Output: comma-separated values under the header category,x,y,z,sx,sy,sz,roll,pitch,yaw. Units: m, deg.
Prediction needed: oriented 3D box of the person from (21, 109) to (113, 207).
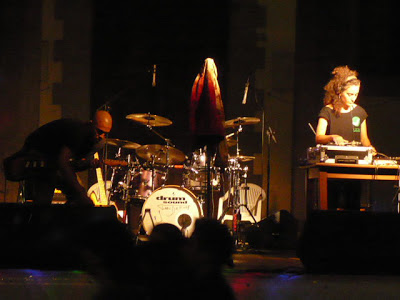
category,x,y,z,sx,sy,sz,roll,pitch,yaw
person,-1.387,0.119,5.700,0.872,1.128,0.610,11,8,1

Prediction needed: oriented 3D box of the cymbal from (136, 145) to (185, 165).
category,x,y,z,sx,sy,sz,roll,pitch,yaw
cymbal,-0.509,0.077,7.415,0.665,0.332,0.534,1,9,2

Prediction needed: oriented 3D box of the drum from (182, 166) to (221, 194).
category,x,y,z,sx,sy,sz,roll,pitch,yaw
drum,0.012,0.348,7.178,0.443,0.291,0.245,0,0,14

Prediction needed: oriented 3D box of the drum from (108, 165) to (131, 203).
category,x,y,z,sx,sy,sz,roll,pitch,yaw
drum,-1.063,0.481,7.492,0.358,0.454,0.221,-4,-3,16

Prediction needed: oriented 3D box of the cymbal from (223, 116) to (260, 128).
category,x,y,z,sx,sy,sz,roll,pitch,yaw
cymbal,0.518,-0.360,7.389,0.470,0.145,0.302,-4,10,-24

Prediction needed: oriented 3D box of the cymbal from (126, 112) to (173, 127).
category,x,y,z,sx,sy,sz,roll,pitch,yaw
cymbal,-0.690,-0.401,7.517,0.594,0.205,0.403,-2,9,-17

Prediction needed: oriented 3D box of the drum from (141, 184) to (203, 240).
category,x,y,z,sx,sy,sz,roll,pitch,yaw
drum,-0.324,0.729,7.144,0.737,0.753,0.274,1,17,9

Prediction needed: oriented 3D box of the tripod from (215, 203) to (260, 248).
category,x,y,z,sx,sy,sz,roll,pitch,yaw
tripod,0.471,0.946,7.067,0.518,0.655,0.493,-1,0,-2
